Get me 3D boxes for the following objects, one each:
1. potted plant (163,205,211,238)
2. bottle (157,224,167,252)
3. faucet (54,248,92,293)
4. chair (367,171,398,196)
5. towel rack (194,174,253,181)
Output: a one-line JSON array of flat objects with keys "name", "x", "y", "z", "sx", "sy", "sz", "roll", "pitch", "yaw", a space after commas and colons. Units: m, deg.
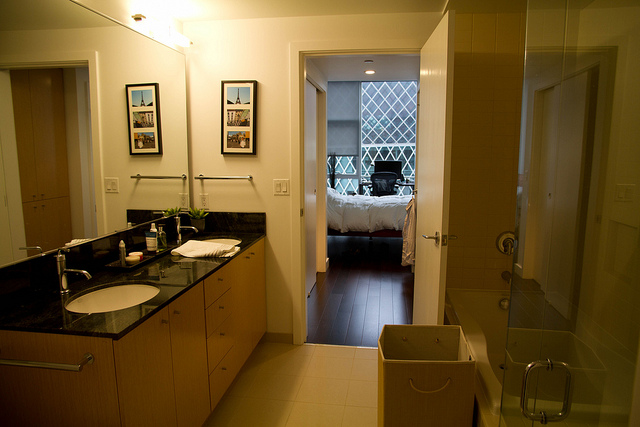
[{"name": "potted plant", "x": -1.024, "y": 0.101, "z": 3.763, "sx": 0.338, "sy": 0.209, "sz": 0.182, "roll": -13, "pitch": -9, "yaw": 16}, {"name": "bottle", "x": -1.119, "y": 0.166, "z": 3.343, "sx": 0.058, "sy": 0.168, "sz": 0.238, "roll": -5, "pitch": 15, "yaw": -18}, {"name": "faucet", "x": -1.348, "y": 0.320, "z": 2.565, "sx": 0.152, "sy": 0.208, "sz": 0.372, "roll": -9, "pitch": 16, "yaw": -30}, {"name": "chair", "x": 1.128, "y": -0.577, "z": 8.457, "sx": 0.433, "sy": 0.613, "sz": 0.454, "roll": 1, "pitch": 20, "yaw": 8}, {"name": "towel rack", "x": -0.776, "y": -0.285, "z": 3.814, "sx": 0.276, "sy": 0.052, "sz": 0.037, "roll": 2, "pitch": -10, "yaw": 9}]
